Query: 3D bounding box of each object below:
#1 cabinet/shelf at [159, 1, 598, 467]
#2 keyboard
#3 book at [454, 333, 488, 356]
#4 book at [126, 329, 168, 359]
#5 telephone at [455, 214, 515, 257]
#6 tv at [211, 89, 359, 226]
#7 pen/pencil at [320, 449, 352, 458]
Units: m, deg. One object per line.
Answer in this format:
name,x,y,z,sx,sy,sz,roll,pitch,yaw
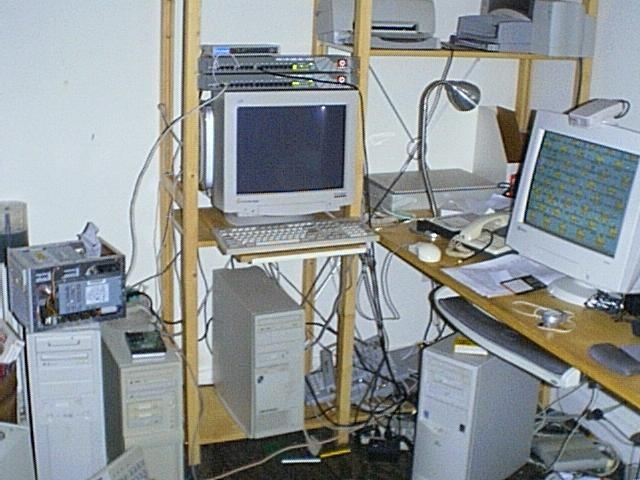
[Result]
cabinet/shelf,0.218,0.002,2.591,1.910,2.201,0.668,-1,20,-12
keyboard,-0.102,0.005,2.457,0.623,0.094,0.239,-7,13,-16
book,0.577,0.395,2.342,0.114,0.026,0.105,3,1,9
book,-0.700,0.407,2.488,0.090,0.033,0.127,2,18,-25
telephone,0.689,0.010,2.526,0.203,0.066,0.141,-14,25,-26
tv,-0.146,-0.333,2.600,0.586,0.479,0.324,-6,21,-21
pen/pencil,0.072,0.924,2.781,0.157,0.026,0.026,-2,2,-15
